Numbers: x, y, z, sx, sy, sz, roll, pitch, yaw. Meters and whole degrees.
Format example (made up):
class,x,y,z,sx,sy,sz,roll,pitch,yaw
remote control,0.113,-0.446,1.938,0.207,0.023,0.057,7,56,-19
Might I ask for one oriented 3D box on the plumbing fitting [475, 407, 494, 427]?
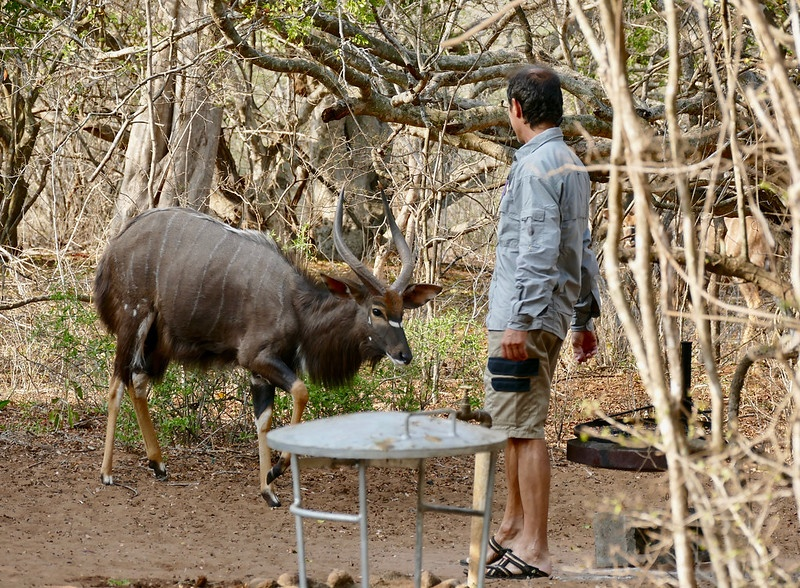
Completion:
class,x,y,z,sx,sy,sz,roll,pitch,yaw
plumbing fitting,0.437,0.649,5.168,0.114,0.112,0.099,2,4,8

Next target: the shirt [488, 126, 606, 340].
class,x,y,z,sx,sy,sz,roll,pitch,yaw
shirt,0.788,-0.352,5.727,0.551,1.239,1.344,2,3,27

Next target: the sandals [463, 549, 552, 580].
class,x,y,z,sx,sy,sz,roll,pitch,yaw
sandals,0.637,1.493,5.368,0.286,0.104,0.164,7,-4,2
